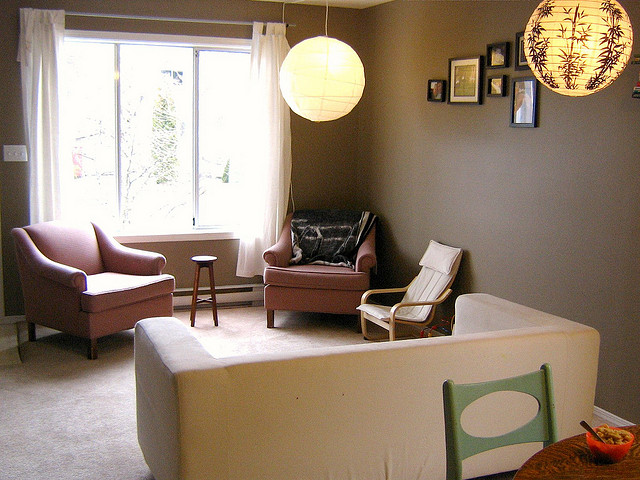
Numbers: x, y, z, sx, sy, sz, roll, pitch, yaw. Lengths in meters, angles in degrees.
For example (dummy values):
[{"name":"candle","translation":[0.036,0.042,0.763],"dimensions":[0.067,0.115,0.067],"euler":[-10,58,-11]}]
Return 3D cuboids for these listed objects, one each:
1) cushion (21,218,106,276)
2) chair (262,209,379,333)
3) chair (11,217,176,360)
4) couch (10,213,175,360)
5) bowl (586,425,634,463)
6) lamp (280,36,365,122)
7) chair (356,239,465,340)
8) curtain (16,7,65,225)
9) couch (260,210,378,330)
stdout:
[{"name":"cushion","translation":[-2.357,0.048,4.874],"dimensions":[0.564,0.683,0.516],"euler":[-3,1,37]},{"name":"chair","translation":[0.043,0.287,5.661],"dimensions":[1.267,1.238,1.515],"euler":[4,5,25]},{"name":"chair","translation":[-2.132,0.403,4.797],"dimensions":[1.191,1.141,1.013],"euler":[4,8,19]},{"name":"couch","translation":[-2.080,0.519,5.211],"dimensions":[1.501,1.588,1.317],"euler":[9,14,28]},{"name":"bowl","translation":[0.992,0.694,1.767],"dimensions":[0.166,0.092,0.108],"euler":[2,13,-7]},{"name":"lamp","translation":[0.016,-1.186,3.793],"dimensions":[0.552,0.665,0.585],"euler":[5,15,1]},{"name":"chair","translation":[0.867,0.403,4.969],"dimensions":[0.884,1.159,0.766],"euler":[1,7,-21]},{"name":"curtain","translation":[-2.721,-1.206,5.102],"dimensions":[0.428,2.057,0.397],"euler":[-3,14,-24]},{"name":"couch","translation":[0.016,0.264,5.655],"dimensions":[1.211,1.188,1.400],"euler":[4,3,17]}]
